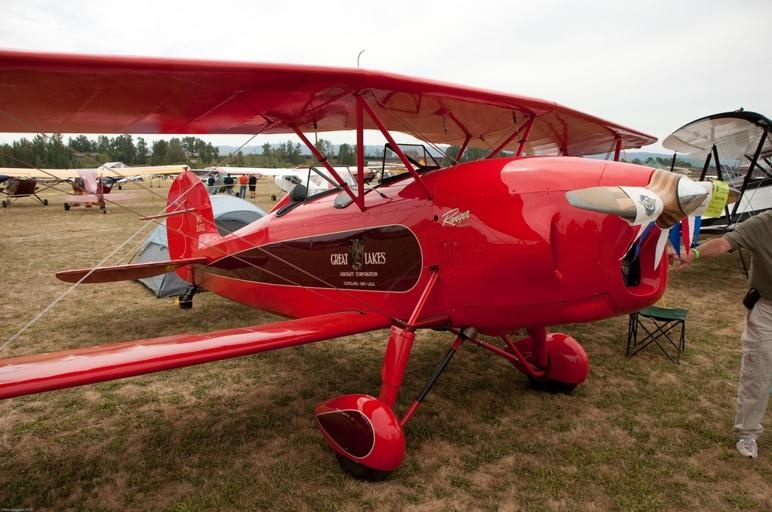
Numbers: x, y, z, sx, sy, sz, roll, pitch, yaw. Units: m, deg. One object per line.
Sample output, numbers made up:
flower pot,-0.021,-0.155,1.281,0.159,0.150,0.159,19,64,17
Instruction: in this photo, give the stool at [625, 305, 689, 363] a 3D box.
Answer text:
stool,3.926,1.081,6.859,0.882,0.431,0.761,0,1,18

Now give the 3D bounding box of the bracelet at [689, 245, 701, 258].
bracelet,2.846,-0.031,4.384,0.082,0.101,0.160,7,15,30

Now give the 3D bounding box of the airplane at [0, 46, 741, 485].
airplane,-0.622,-0.247,5.089,5.811,1.575,6.679,3,6,40

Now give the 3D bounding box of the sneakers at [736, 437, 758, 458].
sneakers,3.554,1.893,4.688,0.133,0.086,0.277,-8,-6,22
